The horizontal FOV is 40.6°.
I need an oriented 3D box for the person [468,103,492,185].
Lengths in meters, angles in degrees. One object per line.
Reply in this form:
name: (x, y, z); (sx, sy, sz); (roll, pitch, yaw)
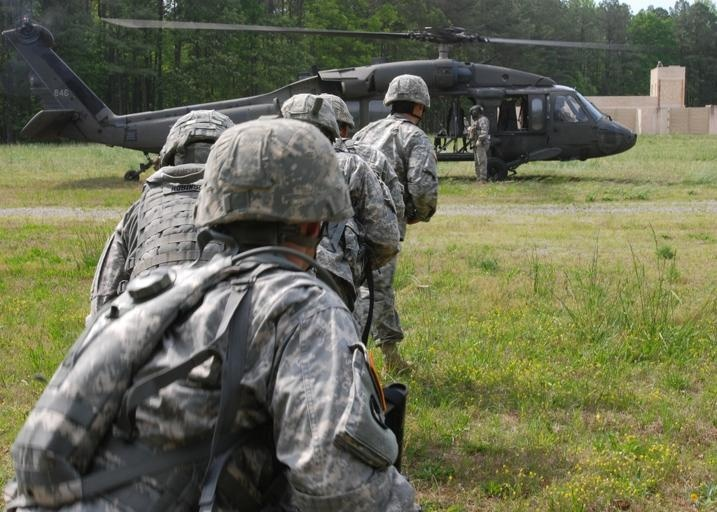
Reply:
person: (2.920, -2.693, 23.319); (0.548, 1.830, 1.552); (2, 8, 7)

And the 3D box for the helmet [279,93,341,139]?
helmet: (-0.476, -1.378, 9.292); (0.531, 0.474, 0.481); (22, 18, 37)

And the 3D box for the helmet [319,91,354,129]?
helmet: (-0.241, -1.517, 10.119); (0.295, 0.425, 0.396); (6, 16, 28)

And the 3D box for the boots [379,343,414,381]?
boots: (0.422, 1.122, 10.731); (0.364, 0.531, 0.291); (-9, 6, 7)
